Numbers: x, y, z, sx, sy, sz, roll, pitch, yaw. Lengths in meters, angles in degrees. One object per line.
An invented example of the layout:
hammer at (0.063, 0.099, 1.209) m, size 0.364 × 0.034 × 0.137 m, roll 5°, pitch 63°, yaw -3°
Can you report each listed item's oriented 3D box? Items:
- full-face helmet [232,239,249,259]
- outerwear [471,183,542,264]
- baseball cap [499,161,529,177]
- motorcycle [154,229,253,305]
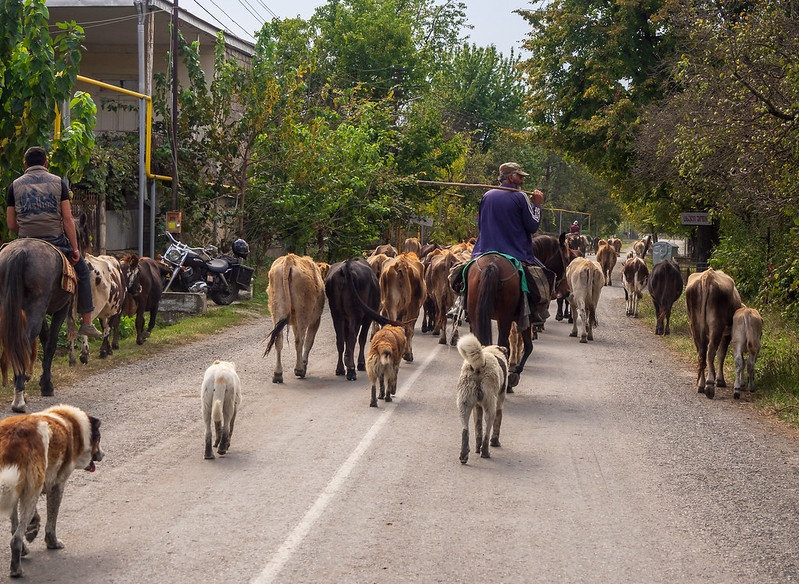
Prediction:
full-face helmet at (-4.884, -1.341, 22.017) m, size 0.551 × 0.609 × 0.493 m, roll -3°, pitch 22°, yaw -17°
outerwear at (1.788, -1.093, 11.882) m, size 1.100 × 1.310 × 1.102 m, roll 7°, pitch 6°, yaw 35°
baseball cap at (1.919, -2.058, 11.932) m, size 0.584 × 0.317 × 0.391 m, roll -5°, pitch 7°, yaw -13°
motorcycle at (-5.695, -0.577, 20.317) m, size 1.719 × 2.121 × 3.509 m, roll 13°, pitch 7°, yaw 36°
